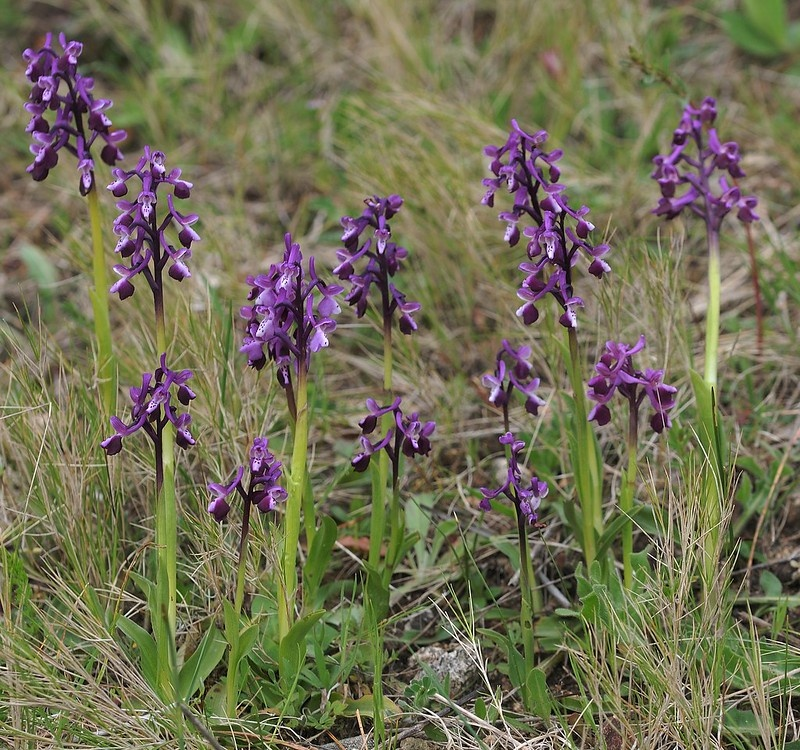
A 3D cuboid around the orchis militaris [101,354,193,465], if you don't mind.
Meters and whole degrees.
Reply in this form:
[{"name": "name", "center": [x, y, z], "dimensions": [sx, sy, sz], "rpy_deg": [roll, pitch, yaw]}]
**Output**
[{"name": "orchis militaris", "center": [-0.787, 0.120, 2.971], "dimensions": [0.189, 0.364, 0.204], "rpy_deg": [15, 26, 31]}]
